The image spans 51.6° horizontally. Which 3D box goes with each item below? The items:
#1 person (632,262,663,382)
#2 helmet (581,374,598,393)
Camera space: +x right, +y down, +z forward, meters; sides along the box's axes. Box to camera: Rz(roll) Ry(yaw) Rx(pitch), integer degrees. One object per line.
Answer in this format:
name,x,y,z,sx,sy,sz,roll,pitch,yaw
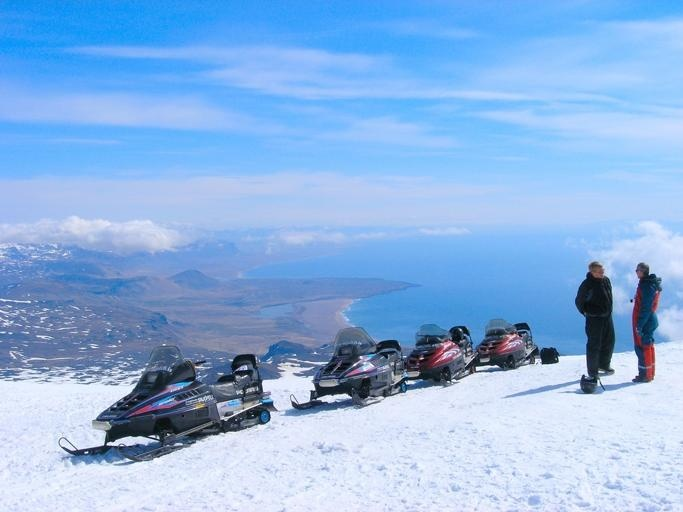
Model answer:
person,8.450,1.865,19.802,0.989,2.494,0.704,-6,-3,16
helmet,6.643,3.533,19.564,0.608,0.401,0.511,4,-5,7
